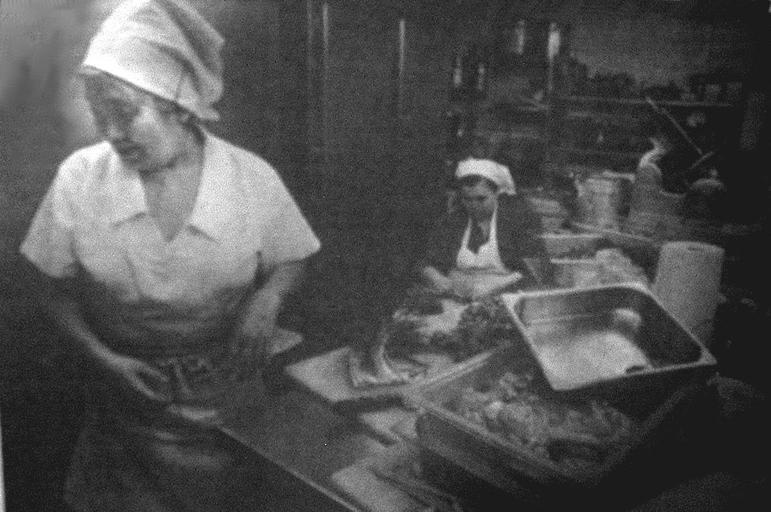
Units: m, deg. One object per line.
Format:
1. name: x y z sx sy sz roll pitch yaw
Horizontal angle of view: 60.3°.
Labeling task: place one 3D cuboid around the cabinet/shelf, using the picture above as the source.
1. cabinet/shelf: 0.749 -0.612 3.251 1.654 0.521 1.491 6 5 -10

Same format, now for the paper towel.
1. paper towel: 1.178 0.144 2.553 0.291 0.392 0.082 -4 15 -5
